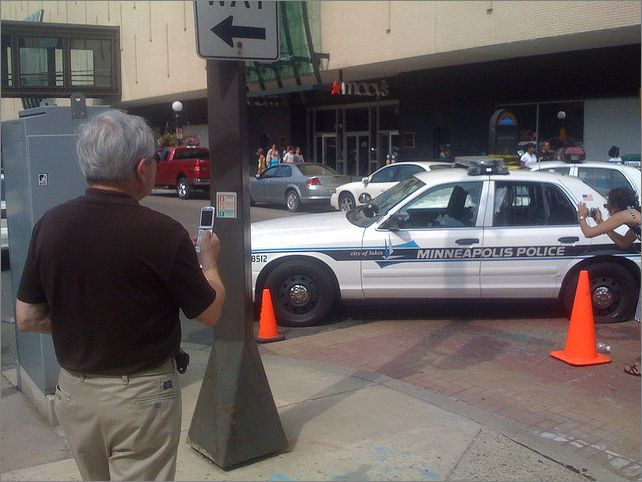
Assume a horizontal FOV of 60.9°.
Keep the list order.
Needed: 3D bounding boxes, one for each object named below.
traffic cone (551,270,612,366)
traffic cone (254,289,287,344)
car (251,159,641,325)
[{"bbox_3d":[2.923,0.851,6.142,0.680,0.956,0.782,1,13,13],"label":"traffic cone"},{"bbox_3d":[-0.645,0.906,6.959,0.360,0.655,0.463,-1,8,-14],"label":"traffic cone"},{"bbox_3d":[1.608,0.023,8.052,4.910,1.871,2.296,1,3,-1],"label":"car"}]
